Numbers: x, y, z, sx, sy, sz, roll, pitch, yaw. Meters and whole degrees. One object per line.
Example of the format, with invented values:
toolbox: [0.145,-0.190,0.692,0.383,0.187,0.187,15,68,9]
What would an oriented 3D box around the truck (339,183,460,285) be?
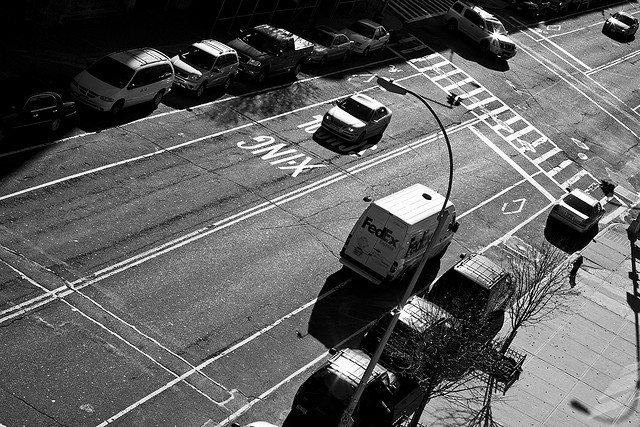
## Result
truck: [4.003,0.703,28.828,3.373,3.311,6.469,34,32,26]

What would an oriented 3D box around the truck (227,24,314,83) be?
truck: [-3.307,-10.810,40.649,3.530,2.705,6.689,33,34,21]

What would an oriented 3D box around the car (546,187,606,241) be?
car: [15.194,-0.064,36.341,2.043,1.587,3.570,39,50,13]

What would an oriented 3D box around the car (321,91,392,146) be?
car: [2.262,-5.538,36.916,2.632,2.708,6.076,11,19,20]
